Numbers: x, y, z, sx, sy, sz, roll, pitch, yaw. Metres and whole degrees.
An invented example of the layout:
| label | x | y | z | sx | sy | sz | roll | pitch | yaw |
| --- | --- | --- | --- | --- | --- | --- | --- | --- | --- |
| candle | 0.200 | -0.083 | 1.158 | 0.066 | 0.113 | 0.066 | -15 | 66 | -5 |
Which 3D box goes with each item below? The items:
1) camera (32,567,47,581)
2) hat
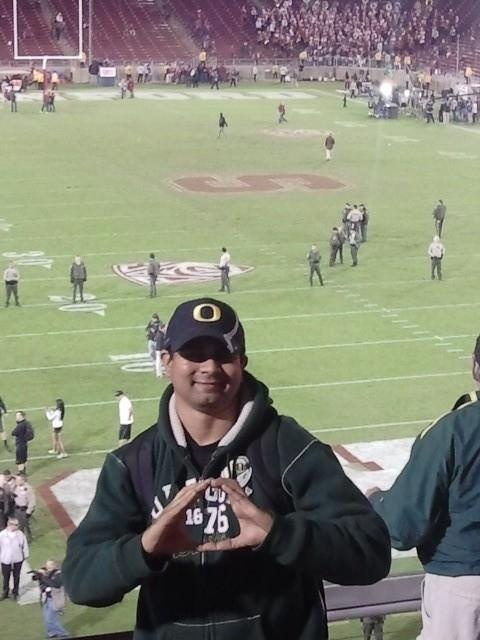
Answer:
| label | x | y | z | sx | sy | sz | roll | pitch | yaw |
| --- | --- | --- | --- | --- | --- | --- | --- | --- | --- |
| camera | -2.300 | 2.952 | 13.236 | 0.178 | 0.135 | 0.297 | -1 | 4 | -12 |
| hat | -0.123 | 0.031 | 3.882 | 0.158 | 0.132 | 0.239 | 1 | -7 | -3 |
